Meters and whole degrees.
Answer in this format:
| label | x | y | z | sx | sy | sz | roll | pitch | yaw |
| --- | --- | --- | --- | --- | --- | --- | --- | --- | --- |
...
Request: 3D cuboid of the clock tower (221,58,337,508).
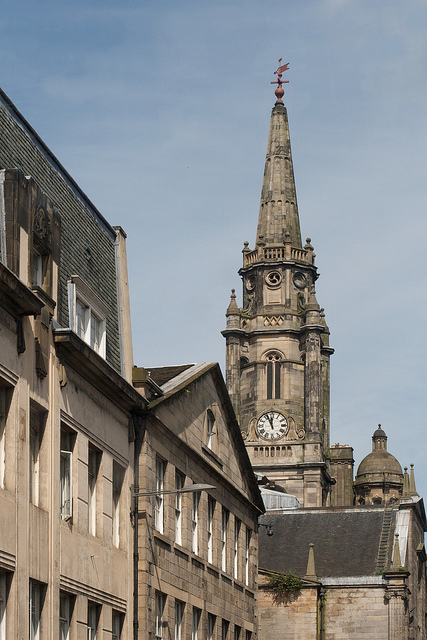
| label | x | y | z | sx | sy | sz | roll | pitch | yaw |
| --- | --- | --- | --- | --- | --- | --- | --- | --- | --- |
| clock tower | 4.117 | 0.076 | 137.859 | 6.025 | 28.151 | 10.664 | -1 | -19 | 3 |
